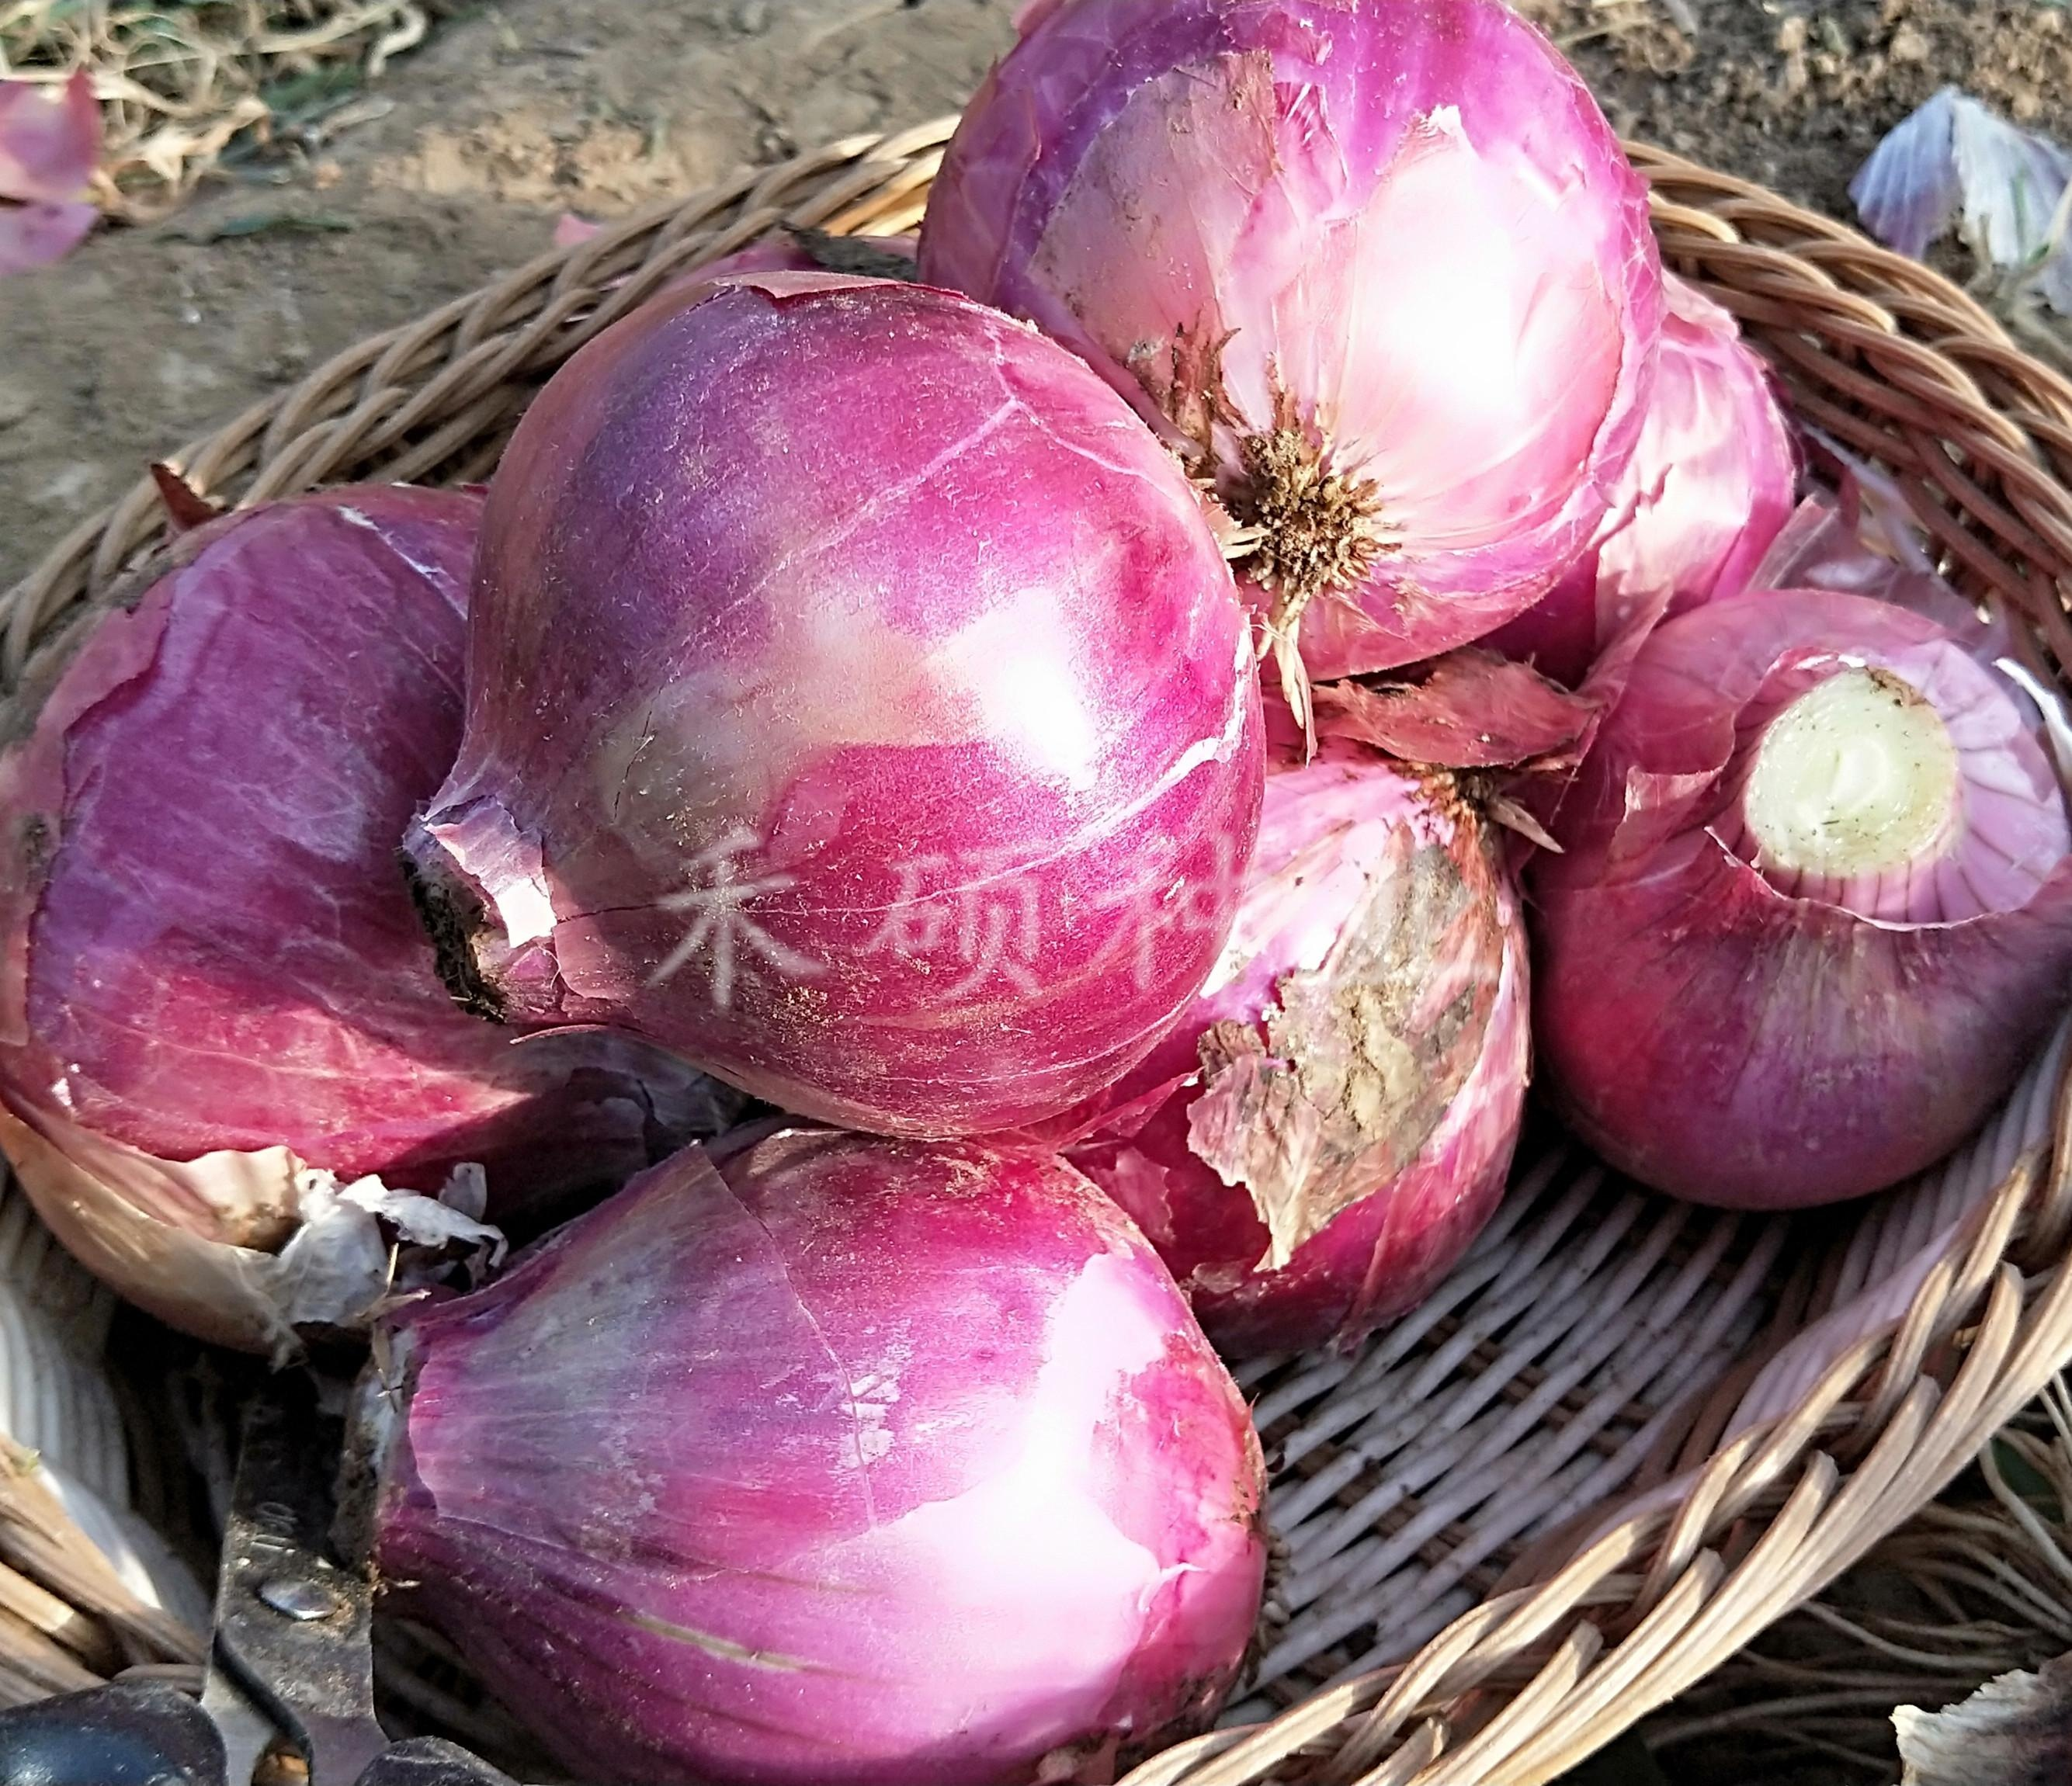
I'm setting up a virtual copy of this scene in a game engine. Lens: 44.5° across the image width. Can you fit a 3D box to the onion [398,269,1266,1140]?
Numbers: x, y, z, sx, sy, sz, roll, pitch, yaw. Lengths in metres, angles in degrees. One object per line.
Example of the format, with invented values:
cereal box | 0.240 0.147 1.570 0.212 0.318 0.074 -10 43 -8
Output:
onion | -0.124 -0.102 1.335 0.412 0.388 0.405 -5 51 -23
